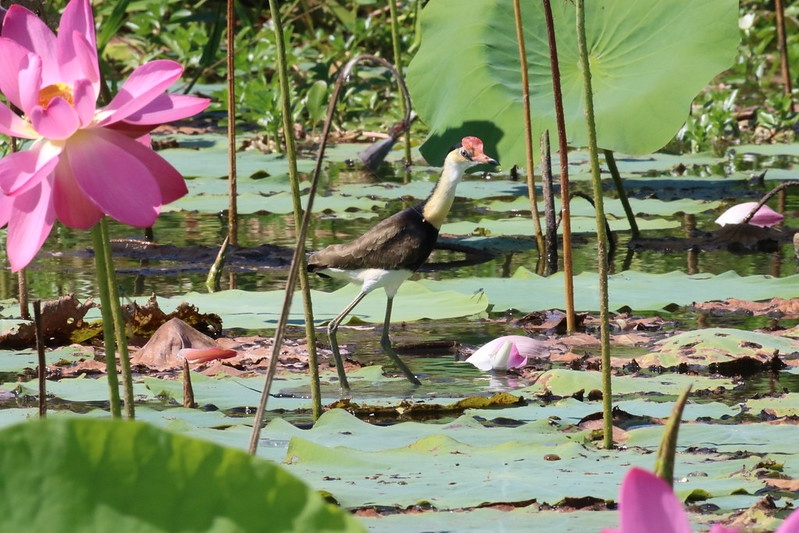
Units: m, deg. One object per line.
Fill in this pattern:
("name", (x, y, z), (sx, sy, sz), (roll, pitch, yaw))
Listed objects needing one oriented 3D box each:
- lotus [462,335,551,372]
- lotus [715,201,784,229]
("lotus", (0.428, 0.333, 3.928), (0.318, 0.134, 0.251), (4, 0, 0))
("lotus", (2.246, -0.324, 6.567), (0.382, 0.083, 0.311), (-3, 4, 8))
